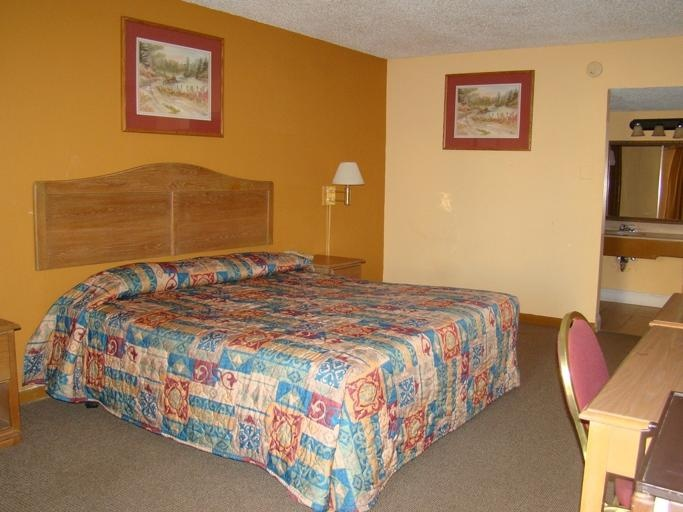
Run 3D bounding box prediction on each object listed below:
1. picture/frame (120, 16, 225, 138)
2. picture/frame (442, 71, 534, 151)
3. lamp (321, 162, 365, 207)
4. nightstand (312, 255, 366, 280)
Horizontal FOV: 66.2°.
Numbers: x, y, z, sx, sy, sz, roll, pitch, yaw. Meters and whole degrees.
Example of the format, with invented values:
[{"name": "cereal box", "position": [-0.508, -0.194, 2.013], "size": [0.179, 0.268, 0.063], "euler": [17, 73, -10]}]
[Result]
[{"name": "picture/frame", "position": [-1.483, -1.538, 4.465], "size": [0.047, 1.001, 1.147], "euler": [5, 6, 39]}, {"name": "picture/frame", "position": [1.758, -1.706, 6.101], "size": [0.951, 0.829, 0.035], "euler": [5, 11, 31]}, {"name": "lamp", "position": [0.034, -0.775, 5.738], "size": [0.464, 0.464, 0.375], "euler": [2, 8, 13]}, {"name": "nightstand", "position": [-0.092, 0.091, 5.486], "size": [0.319, 0.325, 0.326], "euler": [7, 11, 38]}]
